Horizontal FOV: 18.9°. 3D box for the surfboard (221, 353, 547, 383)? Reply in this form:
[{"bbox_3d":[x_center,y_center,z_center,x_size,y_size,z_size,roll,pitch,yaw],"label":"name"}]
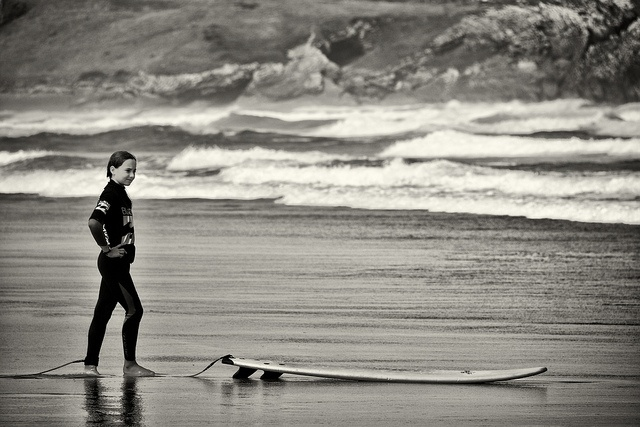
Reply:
[{"bbox_3d":[0.814,2.210,26.583,4.373,0.313,0.275,2,4,0],"label":"surfboard"}]

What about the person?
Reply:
[{"bbox_3d":[-2.878,0.703,26.573,0.850,3.108,0.410,2,5,-6],"label":"person"}]
